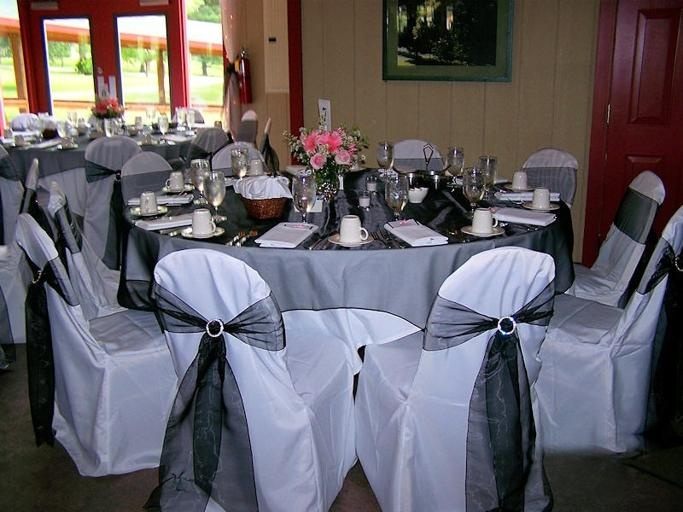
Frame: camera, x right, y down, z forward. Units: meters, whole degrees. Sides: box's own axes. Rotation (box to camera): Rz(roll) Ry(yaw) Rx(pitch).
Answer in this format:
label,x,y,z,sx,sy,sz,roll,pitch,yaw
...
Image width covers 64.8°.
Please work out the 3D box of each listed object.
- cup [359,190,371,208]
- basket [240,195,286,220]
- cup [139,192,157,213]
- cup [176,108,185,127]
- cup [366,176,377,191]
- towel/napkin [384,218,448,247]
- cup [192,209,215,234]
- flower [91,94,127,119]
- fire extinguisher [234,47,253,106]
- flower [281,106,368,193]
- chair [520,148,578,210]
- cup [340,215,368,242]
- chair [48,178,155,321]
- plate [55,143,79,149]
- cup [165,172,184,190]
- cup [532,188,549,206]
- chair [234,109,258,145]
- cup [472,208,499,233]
label,x,y,z,sx,sy,sz,roll,pitch,yaw
cup,0.127,-0.300,2.926,0.077,0.117,0.090,1,14,5
basket,-0.384,-0.240,2.713,0.126,0.067,0.137,1,15,7
cup,-0.978,-0.269,2.752,0.078,0.110,0.089,-1,20,-11
cup,-1.905,-1.654,6.410,0.110,0.200,0.220,-7,18,-18
cup,0.176,-0.425,3.182,0.065,0.094,0.075,5,21,18
towel/napkin,0.320,-0.105,2.394,0.115,0.037,0.228,-7,26,-16
cup,-0.619,-0.167,2.448,0.071,0.119,0.111,-9,25,-35
flower,-2.492,-1.566,5.723,0.288,0.231,0.392,-11,20,-26
fire extinguisher,-1.379,-2.499,7.533,0.167,0.741,0.179,7,18,28
flower,-0.087,-0.589,3.003,0.384,0.454,0.448,1,18,10
chair,1.441,-0.626,3.805,0.365,0.656,0.408,6,17,26
cup,0.054,-0.115,2.375,0.074,0.111,0.138,-5,22,-14
chair,-1.246,-0.035,2.831,0.493,0.787,0.507,-10,28,-26
plate,-2.535,-1.013,4.969,0.123,0.050,0.078,5,20,15
cup,-1.008,-0.453,3.242,0.104,0.124,0.075,-5,17,-29
cup,1.035,-0.293,2.794,0.073,0.108,0.087,-1,12,3
chair,-1.137,-1.537,6.459,0.248,0.360,0.682,-5,18,-10
cup,0.664,-0.165,2.469,0.102,0.137,0.090,0,12,2
